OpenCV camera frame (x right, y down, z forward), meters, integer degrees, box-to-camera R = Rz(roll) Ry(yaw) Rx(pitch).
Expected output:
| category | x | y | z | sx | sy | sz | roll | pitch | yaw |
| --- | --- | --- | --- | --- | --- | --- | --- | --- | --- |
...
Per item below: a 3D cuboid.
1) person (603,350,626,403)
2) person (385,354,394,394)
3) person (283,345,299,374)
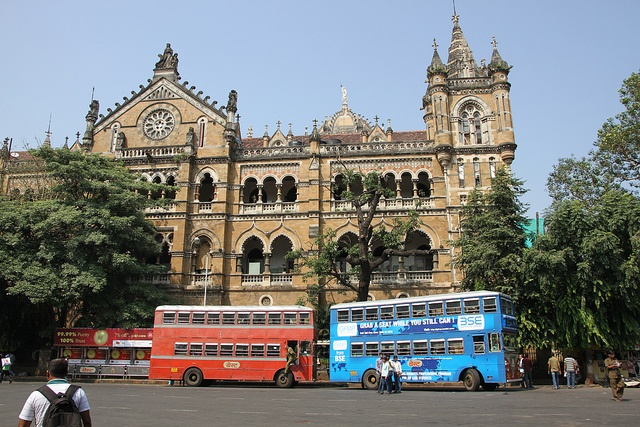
| category | x | y | z | sx | sy | sz | roll | pitch | yaw |
| --- | --- | --- | --- | --- | --- | --- | --- | --- | --- |
| person | 13.861 | 7.682 | 28.242 | 0.698 | 2.231 | 1.421 | -4 | -12 | 25 |
| person | 3.591 | 8.573 | 31.513 | 0.389 | 1.743 | 0.619 | 0 | -11 | 5 |
| person | -1.738 | 8.385 | 34.360 | 0.661 | 1.592 | 0.671 | 8 | -13 | -36 |
